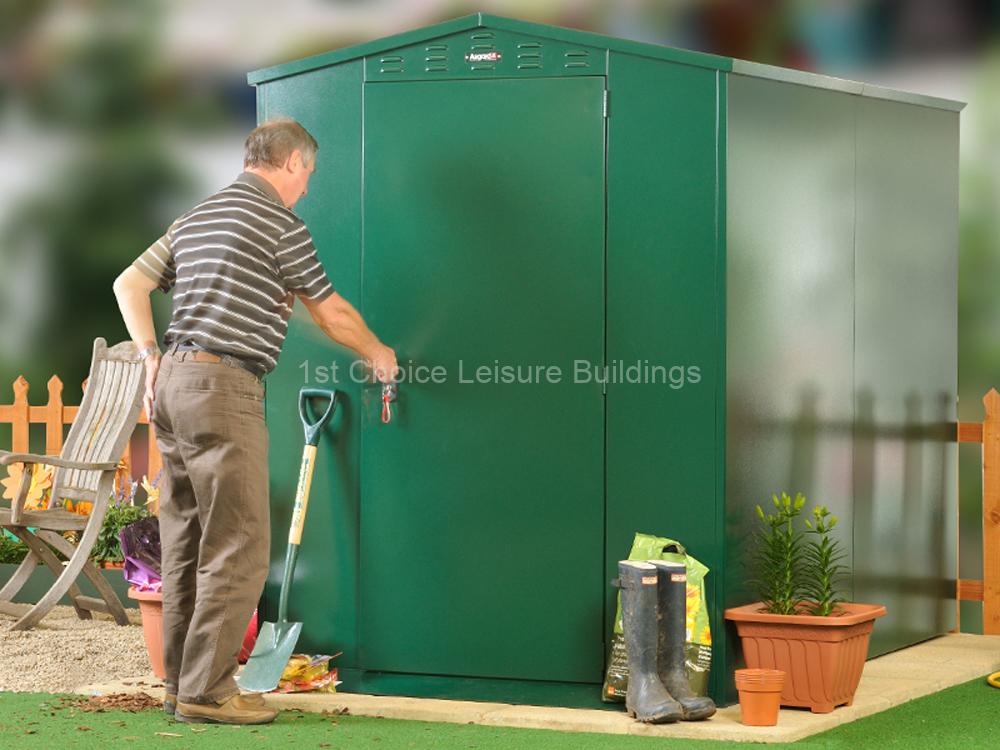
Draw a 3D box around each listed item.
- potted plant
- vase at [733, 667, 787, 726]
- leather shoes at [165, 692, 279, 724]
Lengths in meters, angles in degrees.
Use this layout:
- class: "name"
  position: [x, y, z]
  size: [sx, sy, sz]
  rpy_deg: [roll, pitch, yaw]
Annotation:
- class: "potted plant"
  position: [1.695, 1.224, 7.155]
  size: [0.895, 1.170, 0.588]
  rpy_deg: [8, -11, -40]
- class: "vase"
  position: [1.333, 1.647, 6.711]
  size: [0.239, 0.237, 0.261]
  rpy_deg: [-1, -7, 0]
- class: "leather shoes"
  position: [-1.405, 1.713, 6.663]
  size: [0.442, 0.197, 0.212]
  rpy_deg: [-1, 1, -10]
